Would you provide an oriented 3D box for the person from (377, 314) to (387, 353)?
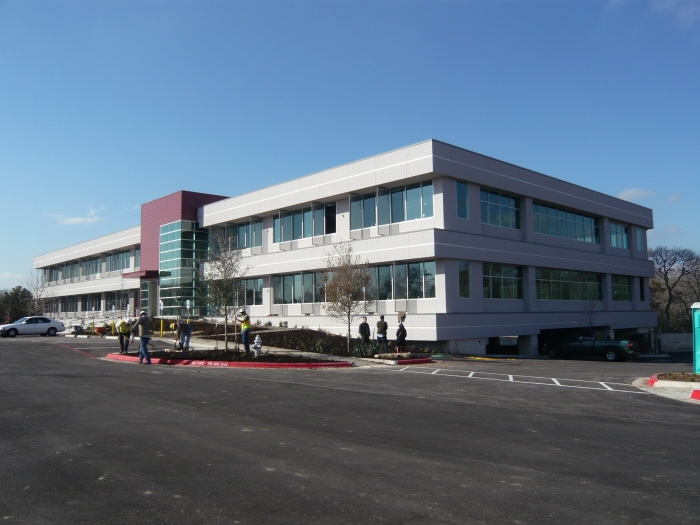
[{"bbox_3d":[1.676,3.695,29.515,0.421,1.888,1.363,-1,-9,5],"label":"person"}]
